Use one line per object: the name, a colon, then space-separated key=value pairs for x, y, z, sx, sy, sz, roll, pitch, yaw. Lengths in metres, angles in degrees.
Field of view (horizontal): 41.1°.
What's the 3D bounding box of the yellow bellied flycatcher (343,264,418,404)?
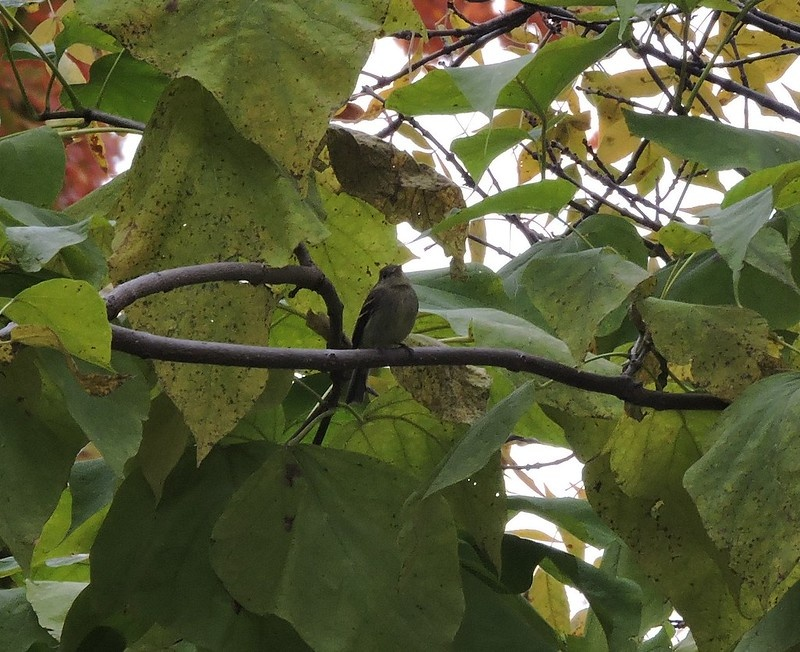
yellow bellied flycatcher: x=-0.028 y=-0.022 z=2.156 sx=0.104 sy=0.127 sz=0.304 roll=14 pitch=-55 yaw=-18
